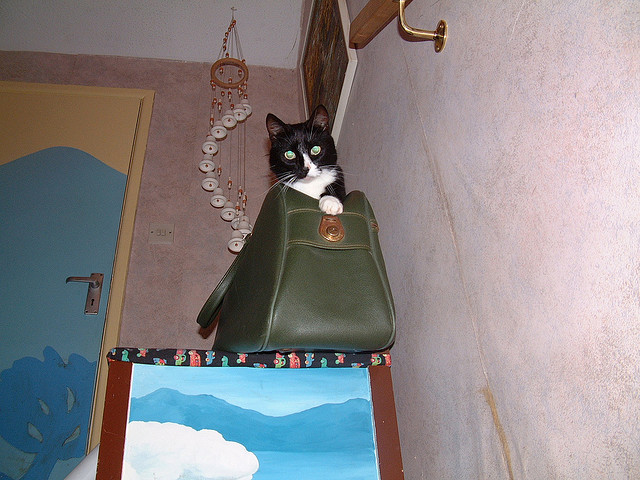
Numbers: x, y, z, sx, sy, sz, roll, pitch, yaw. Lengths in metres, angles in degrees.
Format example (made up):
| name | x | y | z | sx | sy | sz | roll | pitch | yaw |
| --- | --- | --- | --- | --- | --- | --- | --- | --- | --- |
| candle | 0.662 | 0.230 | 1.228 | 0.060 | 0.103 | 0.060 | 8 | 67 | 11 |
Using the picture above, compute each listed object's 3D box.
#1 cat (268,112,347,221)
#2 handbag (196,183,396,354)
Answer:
| name | x | y | z | sx | sy | sz | roll | pitch | yaw |
| --- | --- | --- | --- | --- | --- | --- | --- | --- | --- |
| cat | -0.047 | -0.249 | 1.514 | 0.169 | 0.324 | 0.306 | -10 | 21 | -1 |
| handbag | -0.026 | 0.101 | 1.177 | 0.411 | 0.415 | 0.459 | -5 | -19 | 19 |
